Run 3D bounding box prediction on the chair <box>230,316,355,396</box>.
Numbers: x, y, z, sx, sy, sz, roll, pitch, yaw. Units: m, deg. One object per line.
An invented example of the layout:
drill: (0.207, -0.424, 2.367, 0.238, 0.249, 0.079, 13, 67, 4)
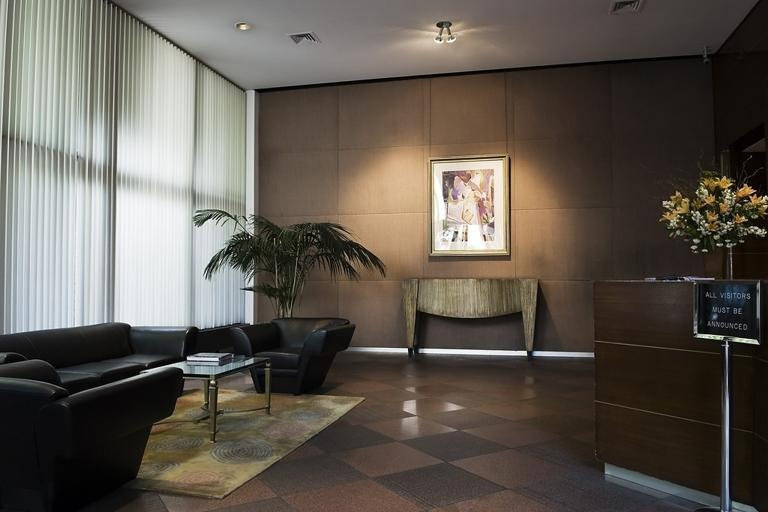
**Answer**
chair: (-1.102, 1.242, 6.628, 1.331, 0.849, 1.102, -2, -4, 16)
